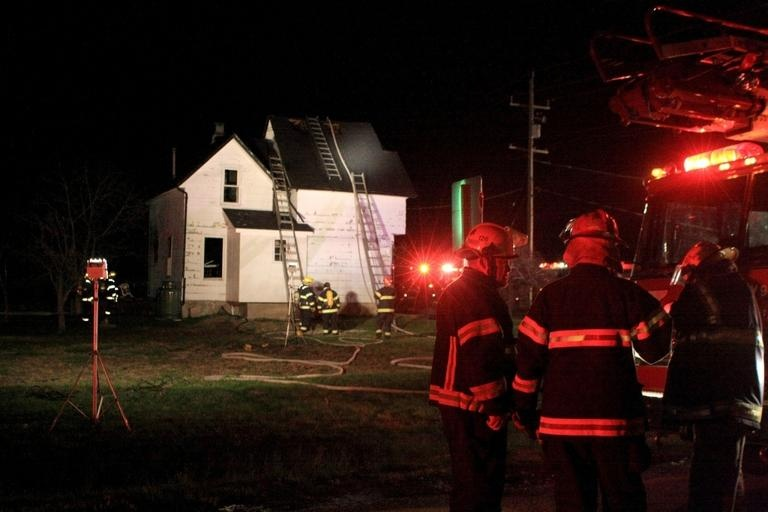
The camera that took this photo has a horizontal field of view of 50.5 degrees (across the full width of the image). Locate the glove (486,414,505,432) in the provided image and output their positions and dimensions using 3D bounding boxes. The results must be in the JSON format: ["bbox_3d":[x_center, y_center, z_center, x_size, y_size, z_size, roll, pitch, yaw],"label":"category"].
[{"bbox_3d":[1.044,1.540,7.568,0.140,0.061,0.173,5,-18,-5],"label":"glove"}]

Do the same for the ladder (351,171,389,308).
[{"bbox_3d":[-0.497,-0.736,28.407,0.923,5.574,1.018,1,-19,-33],"label":"ladder"}]

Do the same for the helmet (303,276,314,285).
[{"bbox_3d":[-2.233,0.731,23.669,0.250,0.159,0.325,4,11,3],"label":"helmet"}]

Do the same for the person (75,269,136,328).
[{"bbox_3d":[-8.364,1.358,24.406,1.590,1.888,0.779,4,4,-18],"label":"person"}]
